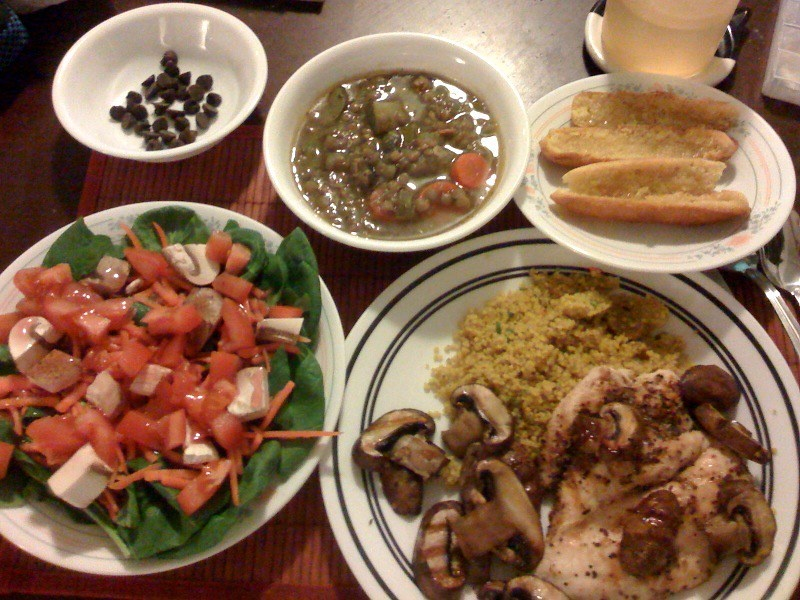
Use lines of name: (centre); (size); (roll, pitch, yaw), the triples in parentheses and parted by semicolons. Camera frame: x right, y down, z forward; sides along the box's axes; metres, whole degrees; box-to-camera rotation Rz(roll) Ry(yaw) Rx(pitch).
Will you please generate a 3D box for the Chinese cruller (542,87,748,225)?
Chinese cruller: (1.154, -0.718, 3.563); (0.809, 0.256, 0.705); (2, 71, 13)
